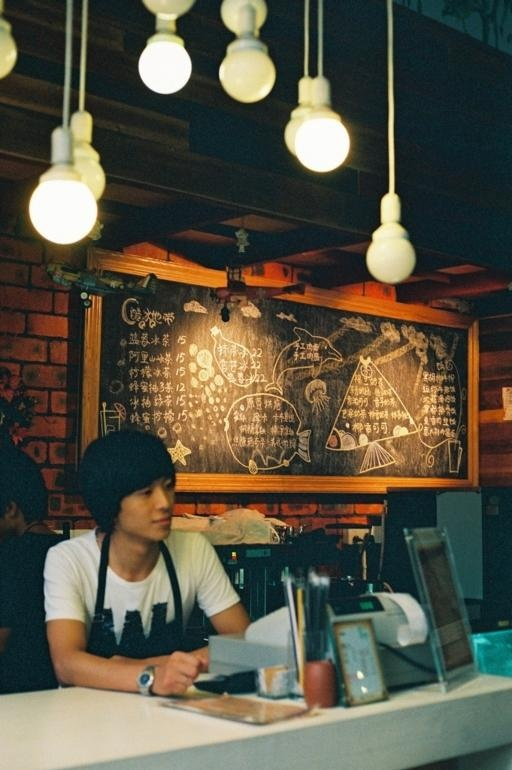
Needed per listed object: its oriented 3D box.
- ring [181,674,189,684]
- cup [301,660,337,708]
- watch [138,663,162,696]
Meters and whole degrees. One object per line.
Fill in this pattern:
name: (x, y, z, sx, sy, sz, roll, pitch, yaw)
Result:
ring: (-0.127, 0.524, 1.295, 0.009, 0.009, 0.015, -5, 15, -35)
cup: (0.104, 0.487, 1.181, 0.068, 0.091, 0.065, 0, -7, 0)
watch: (-0.200, 0.545, 1.338, 0.030, 0.048, 0.048, 3, -8, 5)
